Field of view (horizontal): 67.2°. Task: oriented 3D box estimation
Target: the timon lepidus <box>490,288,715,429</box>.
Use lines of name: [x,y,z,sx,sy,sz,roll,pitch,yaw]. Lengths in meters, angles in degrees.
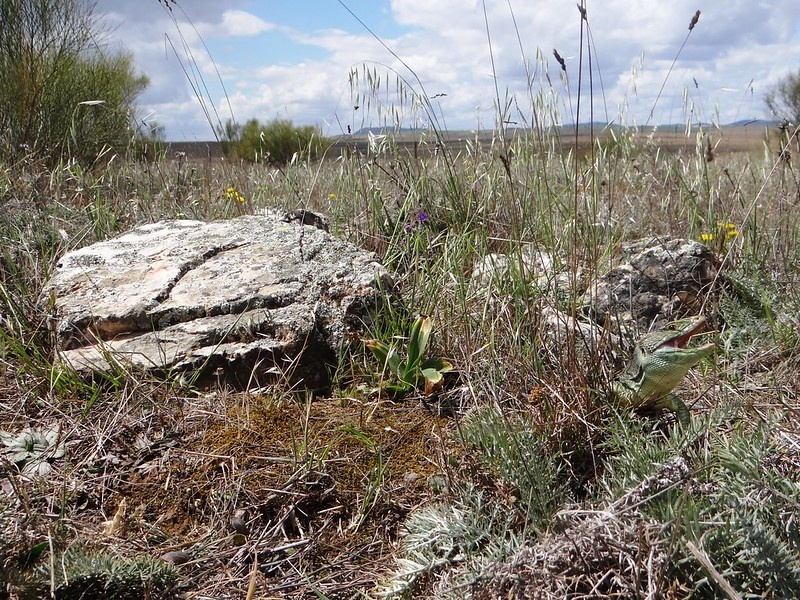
timon lepidus: [1.010,0.291,2.596,0.684,0.346,0.513,-15,-15,37]
